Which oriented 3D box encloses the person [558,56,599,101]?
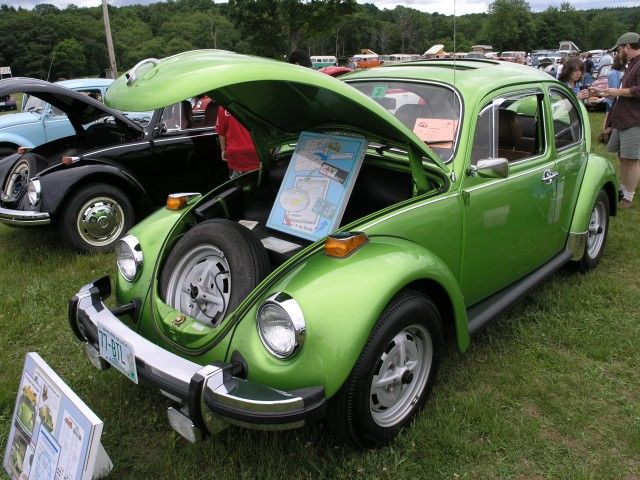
[{"bbox_3d":[4.206,-2.616,7.806,0.439,0.633,0.741,-5,22,-19],"label":"person"}]

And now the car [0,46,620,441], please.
[{"bbox_3d":[0.311,-0.200,3.582,3.990,2.233,1.846,-14,24,-36],"label":"car"}]
